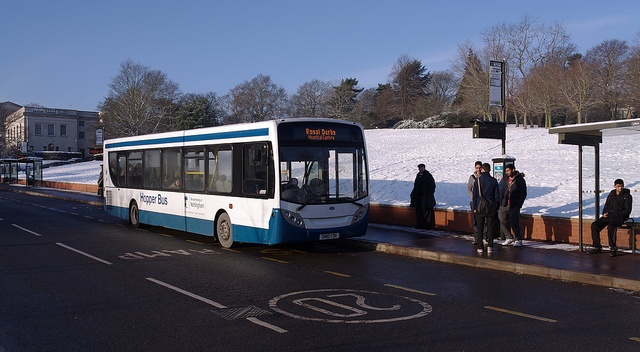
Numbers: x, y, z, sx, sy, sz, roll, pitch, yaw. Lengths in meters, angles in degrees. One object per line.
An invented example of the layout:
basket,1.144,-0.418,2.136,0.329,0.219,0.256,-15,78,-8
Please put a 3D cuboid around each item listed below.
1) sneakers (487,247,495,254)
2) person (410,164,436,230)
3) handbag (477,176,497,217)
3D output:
sneakers,5.937,2.574,15.751,0.270,0.150,0.435,3,10,20
person,4.624,0.901,20.378,1.040,2.887,0.635,3,11,21
handbag,5.781,0.838,15.853,0.676,1.156,0.524,6,12,33
